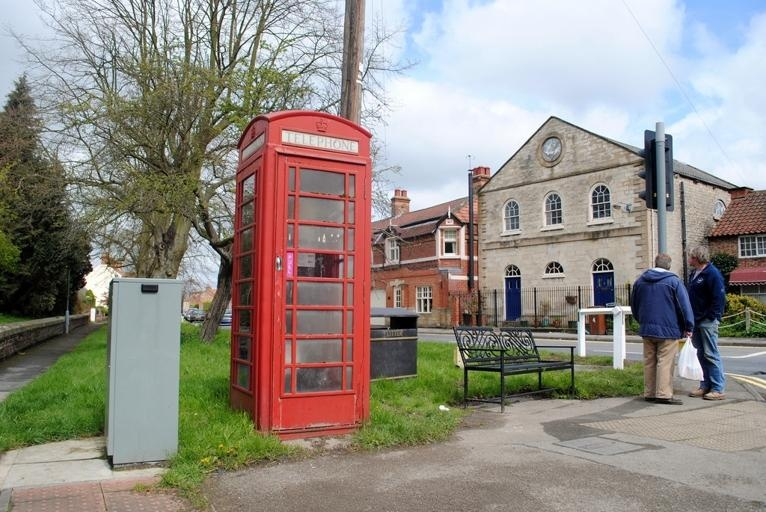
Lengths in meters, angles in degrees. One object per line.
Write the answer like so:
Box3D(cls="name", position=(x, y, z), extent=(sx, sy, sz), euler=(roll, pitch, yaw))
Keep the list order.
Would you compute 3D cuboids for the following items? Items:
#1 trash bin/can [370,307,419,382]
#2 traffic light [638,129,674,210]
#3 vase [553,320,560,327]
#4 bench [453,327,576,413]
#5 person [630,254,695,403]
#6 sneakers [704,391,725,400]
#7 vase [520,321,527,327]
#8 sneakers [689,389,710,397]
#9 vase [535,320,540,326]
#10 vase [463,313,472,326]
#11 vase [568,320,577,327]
Box3D(cls="trash bin/can", position=(-0.040, 1.847, 13.030), extent=(1.462, 1.507, 0.794), euler=(4, -6, -42))
Box3D(cls="traffic light", position=(5.211, -1.569, 11.840), extent=(0.544, 1.624, 0.595), euler=(3, -6, -33))
Box3D(cls="vase", position=(9.353, 3.607, 32.903), extent=(0.314, 0.383, 0.455), euler=(1, 6, 14))
Box3D(cls="bench", position=(2.604, 2.108, 11.935), extent=(1.085, 1.492, 2.923), euler=(-3, -7, 39))
Box3D(cls="person", position=(5.028, 1.319, 11.040), extent=(1.036, 2.685, 0.776), euler=(3, 6, 28))
Box3D(cls="sneakers", position=(6.000, 2.503, 11.037), extent=(0.377, 0.131, 0.196), euler=(0, 5, 2))
Box3D(cls="vase", position=(8.029, 3.817, 34.691), extent=(0.271, 0.544, 0.278), euler=(-1, 3, -16))
Box3D(cls="sneakers", position=(5.845, 2.541, 11.319), extent=(0.290, 0.121, 0.108), euler=(11, -15, -38))
Box3D(cls="vase", position=(8.609, 3.739, 34.105), extent=(0.316, 0.341, 0.252), euler=(-1, -7, -4))
Box3D(cls="vase", position=(5.279, 3.934, 38.223), extent=(0.671, 0.730, 0.689), euler=(-1, 1, -15))
Box3D(cls="vase", position=(9.979, 3.524, 32.135), extent=(0.201, 0.362, 0.346), euler=(-6, 12, -41))
